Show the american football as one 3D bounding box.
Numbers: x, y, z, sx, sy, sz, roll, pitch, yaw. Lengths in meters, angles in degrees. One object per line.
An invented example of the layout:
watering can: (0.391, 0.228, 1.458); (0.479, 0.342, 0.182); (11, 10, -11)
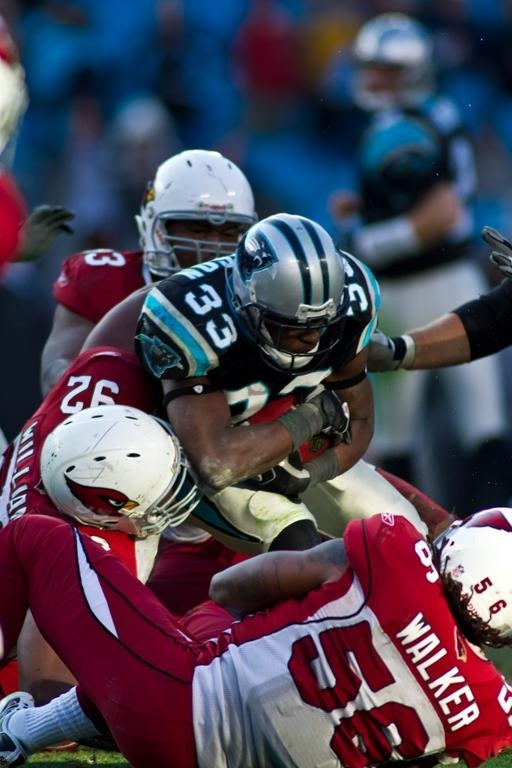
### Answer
american football: (0.053, 0.132, 2.445); (0.272, 0.120, 0.298); (-4, 9, 25)
